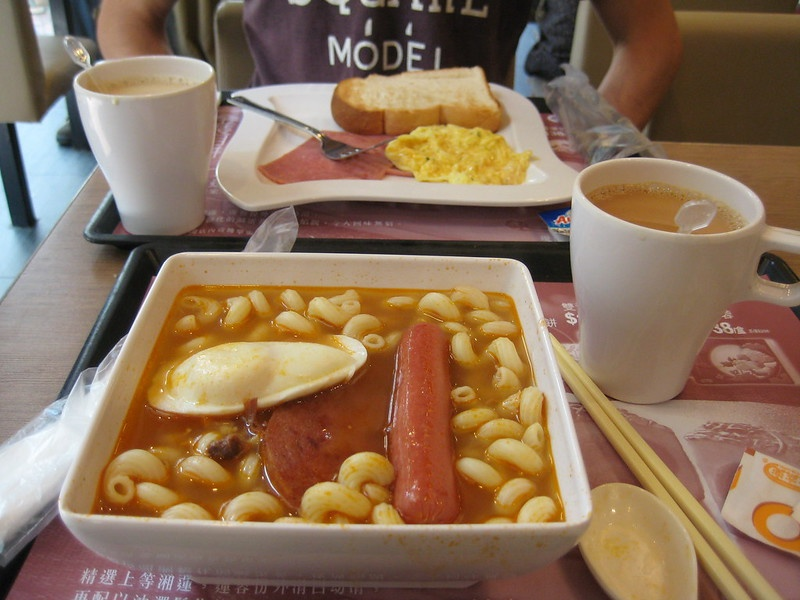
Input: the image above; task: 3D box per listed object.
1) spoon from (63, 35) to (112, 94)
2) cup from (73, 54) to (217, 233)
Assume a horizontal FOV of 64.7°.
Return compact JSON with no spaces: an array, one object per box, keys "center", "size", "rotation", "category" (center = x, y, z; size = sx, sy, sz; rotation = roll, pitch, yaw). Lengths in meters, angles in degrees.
[{"center":[-0.974,-0.776,1.943],"size":[0.094,0.063,0.440],"rotation":[-30,48,-7],"category":"spoon"},{"center":[-0.771,-0.461,1.962],"size":[0.441,0.449,0.398],"rotation":[21,36,32],"category":"cup"}]
